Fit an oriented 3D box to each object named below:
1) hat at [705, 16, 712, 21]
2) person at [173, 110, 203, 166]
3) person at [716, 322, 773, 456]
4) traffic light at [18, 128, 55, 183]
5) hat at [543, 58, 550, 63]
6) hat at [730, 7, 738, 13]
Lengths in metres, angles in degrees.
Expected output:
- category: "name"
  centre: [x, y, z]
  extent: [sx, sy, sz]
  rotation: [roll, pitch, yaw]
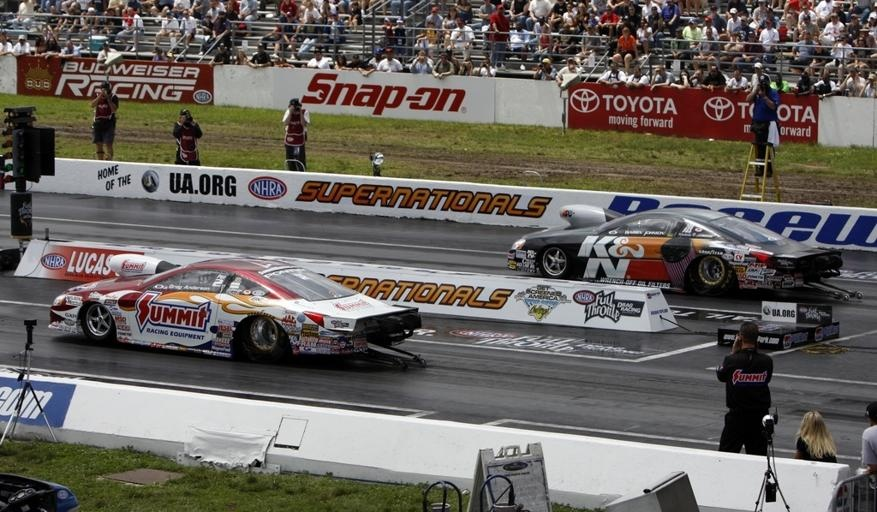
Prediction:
- category: "hat"
  centre: [9.339, -8.376, 47.512]
  extent: [0.251, 0.190, 0.177]
  rotation: [1, 6, -3]
- category: "person"
  centre: [-7.520, -3.655, 41.623]
  extent: [0.762, 1.690, 0.952]
  rotation: [0, 6, -9]
- category: "person"
  centre: [5.589, 2.497, 25.143]
  extent: [0.957, 2.451, 0.780]
  rotation: [2, 6, 6]
- category: "traffic light"
  centre: [-9.688, -2.542, 33.410]
  extent: [0.853, 1.297, 0.416]
  rotation: [-2, 7, -26]
- category: "hat"
  centre: [3.849, -7.087, 48.730]
  extent: [0.304, 0.180, 0.609]
  rotation: [2, 6, 4]
- category: "hat"
  centre: [10.192, -8.663, 47.577]
  extent: [0.243, 0.175, 0.344]
  rotation: [1, 16, 21]
